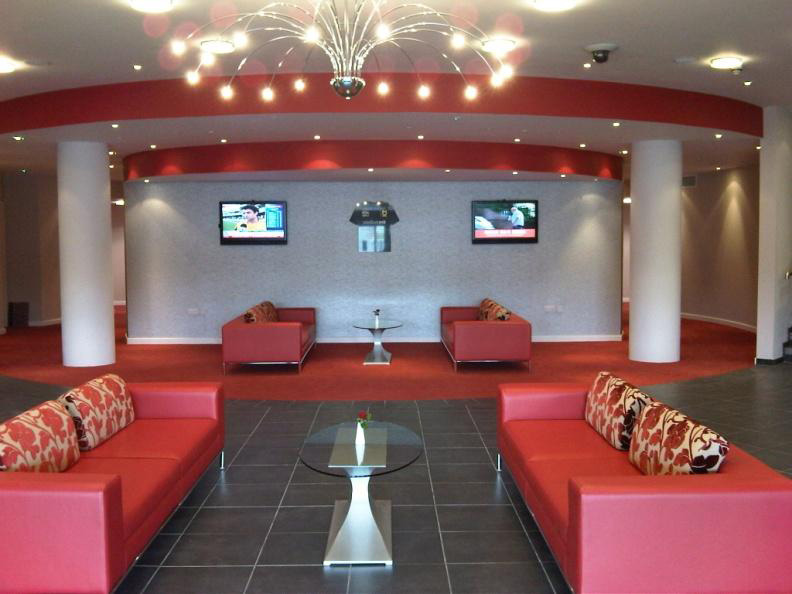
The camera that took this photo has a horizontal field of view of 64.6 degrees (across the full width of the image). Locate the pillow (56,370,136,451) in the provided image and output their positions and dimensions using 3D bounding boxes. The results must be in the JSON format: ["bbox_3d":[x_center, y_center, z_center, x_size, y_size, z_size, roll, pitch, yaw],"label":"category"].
[{"bbox_3d":[-2.432,0.938,5.157,0.245,0.444,0.715,-4,6,8],"label":"pillow"}]

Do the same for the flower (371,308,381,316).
[{"bbox_3d":[-0.338,0.255,10.889,0.126,0.146,0.127,0,4,7],"label":"flower"}]

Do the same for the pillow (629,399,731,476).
[{"bbox_3d":[1.909,1.051,4.298,0.317,0.493,0.870,-3,10,-7],"label":"pillow"}]

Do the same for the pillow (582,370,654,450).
[{"bbox_3d":[1.765,0.907,5.103,0.256,0.464,0.721,-2,8,-4],"label":"pillow"}]

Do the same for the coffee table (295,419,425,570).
[{"bbox_3d":[-0.247,1.399,4.671,0.896,0.684,1.011,0,5,0],"label":"coffee table"}]

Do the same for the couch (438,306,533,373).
[{"bbox_3d":[1.408,0.576,10.232,1.204,0.758,2.553,-1,7,0],"label":"couch"}]

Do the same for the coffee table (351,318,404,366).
[{"bbox_3d":[-0.292,0.676,9.968,0.723,0.510,0.727,1,4,-1],"label":"coffee table"}]
